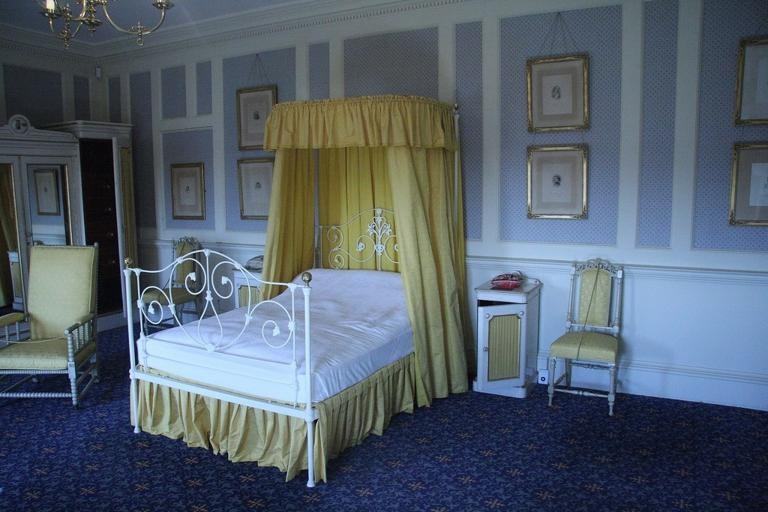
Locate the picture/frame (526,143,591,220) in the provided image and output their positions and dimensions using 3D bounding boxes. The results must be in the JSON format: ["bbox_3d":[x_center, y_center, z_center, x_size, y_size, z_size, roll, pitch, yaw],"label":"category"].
[{"bbox_3d":[1.952,-0.854,5.974,0.789,0.993,0.083,1,5,24],"label":"picture/frame"}]

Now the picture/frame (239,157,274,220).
[{"bbox_3d":[-1.733,-0.919,7.300,0.558,0.794,0.031,1,7,16],"label":"picture/frame"}]

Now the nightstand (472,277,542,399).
[{"bbox_3d":[1.378,0.889,6.114,0.686,1.220,1.009,2,9,22],"label":"nightstand"}]

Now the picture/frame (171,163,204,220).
[{"bbox_3d":[-2.843,-0.965,7.806,0.743,0.964,0.062,3,8,27],"label":"picture/frame"}]

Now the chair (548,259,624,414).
[{"bbox_3d":[2.134,0.800,5.725,0.662,1.516,0.732,3,8,27],"label":"chair"}]

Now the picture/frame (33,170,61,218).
[{"bbox_3d":[-4.550,-0.839,7.227,0.034,0.637,0.304,4,10,26],"label":"picture/frame"}]

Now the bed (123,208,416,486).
[{"bbox_3d":[-0.970,0.836,6.065,1.939,1.788,2.759,5,6,22],"label":"bed"}]

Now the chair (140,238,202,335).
[{"bbox_3d":[-3.085,0.462,7.580,0.740,1.443,0.707,-11,16,-39],"label":"chair"}]

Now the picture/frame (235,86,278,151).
[{"bbox_3d":[-1.732,-1.847,7.241,0.668,0.837,0.077,2,8,24],"label":"picture/frame"}]
